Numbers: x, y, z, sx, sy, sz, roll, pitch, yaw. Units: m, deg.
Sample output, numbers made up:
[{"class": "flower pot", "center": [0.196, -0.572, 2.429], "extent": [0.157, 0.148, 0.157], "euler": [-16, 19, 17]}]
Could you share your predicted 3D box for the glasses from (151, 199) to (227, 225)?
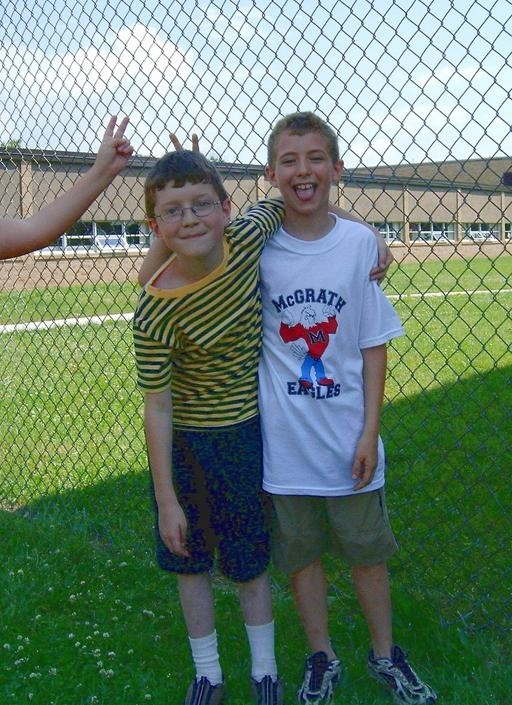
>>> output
[{"class": "glasses", "center": [-0.192, -0.400, 1.917], "extent": [0.183, 0.047, 0.076], "euler": [-7, 20, -4]}]
